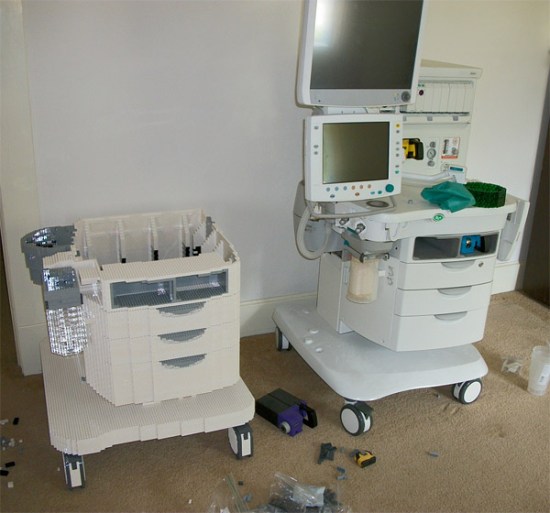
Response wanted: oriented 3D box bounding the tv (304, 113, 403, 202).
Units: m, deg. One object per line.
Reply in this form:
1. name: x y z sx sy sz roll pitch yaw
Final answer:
1. tv: 0.277 -0.372 1.778 0.284 0.273 0.049 -5 10 -22
